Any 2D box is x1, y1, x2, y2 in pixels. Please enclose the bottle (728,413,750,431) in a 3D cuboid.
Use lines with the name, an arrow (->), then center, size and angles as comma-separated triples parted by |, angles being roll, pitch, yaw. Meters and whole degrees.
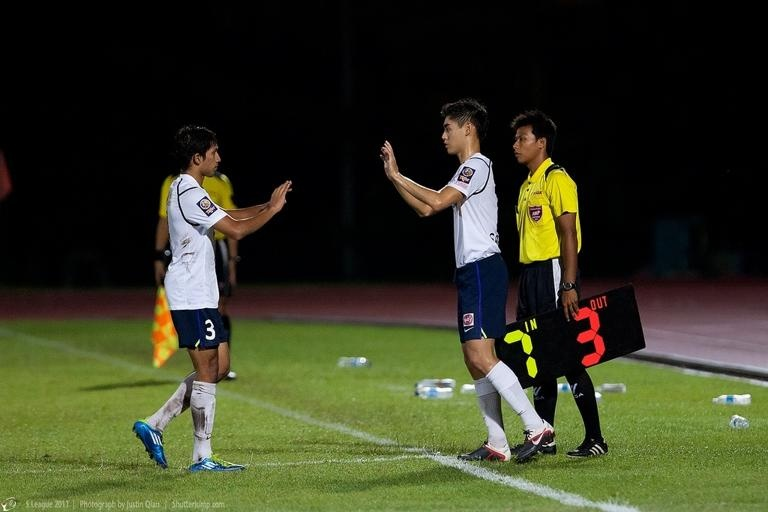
bottle -> 3.459, 1.610, 8.166 | 0.176, 0.100, 0.299 | 0, -2, 22

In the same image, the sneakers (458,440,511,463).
sneakers -> 0.854, 1.661, 7.127 | 0.428, 0.184, 0.155 | 2, -6, 1

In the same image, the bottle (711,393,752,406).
bottle -> 3.847, 1.586, 9.261 | 0.392, 0.102, 0.193 | 0, -2, 18

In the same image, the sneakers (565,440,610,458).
sneakers -> 1.767, 1.657, 7.249 | 0.382, 0.156, 0.137 | 0, -4, -16

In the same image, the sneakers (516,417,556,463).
sneakers -> 1.246, 1.535, 6.996 | 0.420, 0.204, 0.151 | -28, -4, -20

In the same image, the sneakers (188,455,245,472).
sneakers -> -1.363, 1.692, 6.887 | 0.455, 0.159, 0.167 | 0, -2, 1

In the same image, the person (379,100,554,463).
person -> 0.758, 0.177, 6.993 | 1.401, 3.079, 0.383 | 2, -3, -17

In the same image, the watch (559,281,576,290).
watch -> 1.576, 0.256, 7.092 | 0.076, 0.082, 0.078 | 2, -7, 0

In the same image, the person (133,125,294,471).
person -> -1.479, 0.315, 7.008 | 1.200, 2.900, 0.569 | -1, -3, 29
